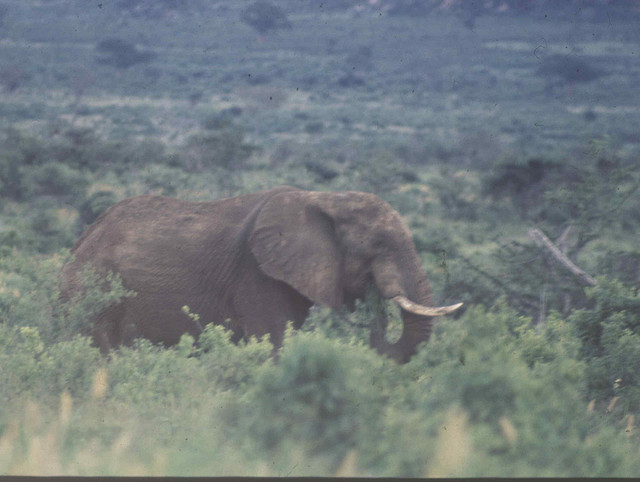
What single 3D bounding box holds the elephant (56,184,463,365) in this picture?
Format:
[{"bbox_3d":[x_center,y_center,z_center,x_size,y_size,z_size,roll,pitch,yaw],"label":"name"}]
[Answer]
[{"bbox_3d":[-1.728,1.156,21.126,8.820,4.529,3.960,-5,7,7],"label":"elephant"}]
